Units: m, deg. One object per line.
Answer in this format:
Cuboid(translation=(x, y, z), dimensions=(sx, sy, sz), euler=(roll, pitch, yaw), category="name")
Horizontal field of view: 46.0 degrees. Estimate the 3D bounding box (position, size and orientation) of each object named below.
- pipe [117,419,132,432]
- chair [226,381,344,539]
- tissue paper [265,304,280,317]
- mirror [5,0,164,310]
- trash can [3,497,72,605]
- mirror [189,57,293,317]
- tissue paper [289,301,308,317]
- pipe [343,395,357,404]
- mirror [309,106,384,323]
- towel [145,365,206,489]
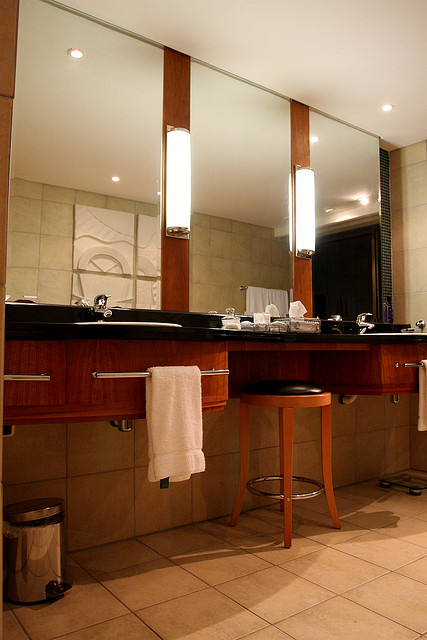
Cuboid(translation=(-0.299, 0.355, 1.691), dimensions=(0.040, 0.055, 0.151), euler=(1, -5, -12), category="pipe")
Cuboid(translation=(0.277, 0.529, 1.989), dimensions=(0.354, 0.569, 0.361), euler=(-3, -5, 34), category="chair")
Cuboid(translation=(0.267, -0.054, 2.271), dimensions=(0.046, 0.053, 0.070), euler=(-3, 4, -23), category="tissue paper")
Cuboid(translation=(-0.444, -0.593, 1.873), dimensions=(0.604, 1.100, 0.061), euler=(4, -6, -39), category="mirror")
Cuboid(translation=(-0.542, 0.673, 1.517), dimensions=(0.267, 0.274, 0.188), euler=(-8, -9, 40), category="trash can")
Cuboid(translation=(0.145, -0.569, 2.316), dimensions=(0.642, 1.100, 0.066), euler=(4, -6, -40), category="mirror")
Cuboid(translation=(0.381, -0.050, 2.329), dimensions=(0.070, 0.086, 0.060), euler=(9, 6, -34), category="tissue paper")
Cuboid(translation=(0.688, 0.401, 2.575), dimensions=(0.059, 0.069, 0.076), euler=(-3, -6, -1), category="pipe")
Cuboid(translation=(0.776, -0.541, 2.825), dimensions=(0.193, 1.106, 0.750), euler=(-3, -5, 35), category="mirror")
Cuboid(translation=(-0.106, 0.274, 1.362), dimensions=(0.172, 0.295, 0.049), euler=(3, -5, -35), category="towel")
